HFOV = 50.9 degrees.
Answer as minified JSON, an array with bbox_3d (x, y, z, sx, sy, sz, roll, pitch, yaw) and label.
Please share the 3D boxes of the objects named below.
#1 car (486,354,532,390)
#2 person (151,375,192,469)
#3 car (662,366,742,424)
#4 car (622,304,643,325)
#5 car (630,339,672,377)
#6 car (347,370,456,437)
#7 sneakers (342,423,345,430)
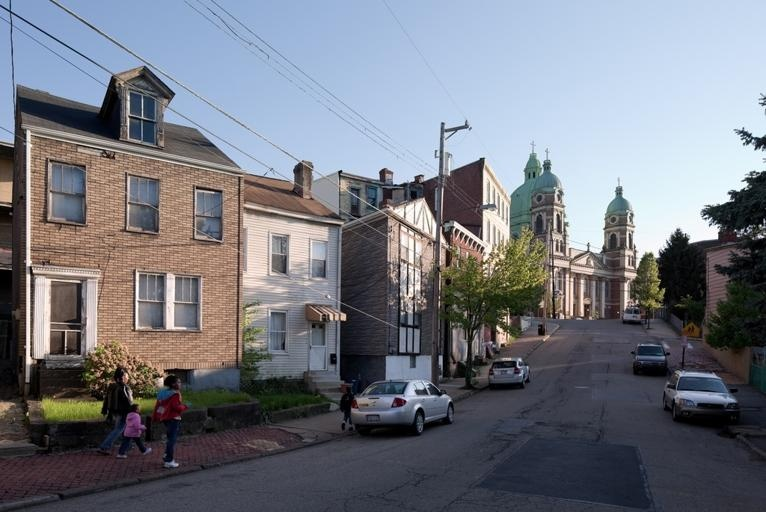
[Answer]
[{"bbox_3d":[6.661,6.221,43.204,2.012,1.658,1.753,-5,-10,7],"label":"car"},{"bbox_3d":[-6.370,4.915,24.036,0.846,2.690,0.919,2,-11,-27],"label":"person"},{"bbox_3d":[12.456,5.460,31.629,2.530,2.110,2.633,-7,-11,20],"label":"car"},{"bbox_3d":[26.153,6.150,84.478,1.441,1.185,2.485,0,1,23],"label":"car"},{"bbox_3d":[15.372,5.877,46.537,1.855,1.843,2.254,-6,-11,15],"label":"car"},{"bbox_3d":[0.814,5.390,29.023,3.603,1.977,1.565,6,-14,-41],"label":"car"},{"bbox_3d":[-1.411,6.124,29.088,0.077,0.227,0.162,-1,-7,1],"label":"sneakers"}]
